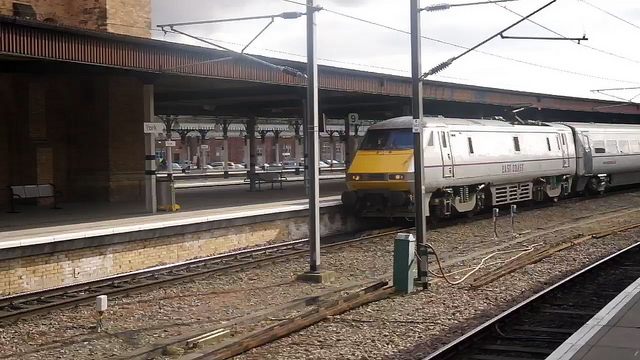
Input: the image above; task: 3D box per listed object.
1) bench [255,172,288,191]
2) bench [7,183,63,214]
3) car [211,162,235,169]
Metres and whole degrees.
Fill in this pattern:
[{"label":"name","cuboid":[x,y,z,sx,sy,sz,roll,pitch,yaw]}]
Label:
[{"label":"bench","cuboid":[-3.192,-0.165,31.986,2.553,1.020,1.054,-2,-3,20]},{"label":"bench","cuboid":[-12.487,0.688,21.679,2.027,1.161,2.543,-6,10,-29]},{"label":"car","cuboid":[-14.350,-2.411,74.422,4.179,1.142,1.836,2,2,4]}]
